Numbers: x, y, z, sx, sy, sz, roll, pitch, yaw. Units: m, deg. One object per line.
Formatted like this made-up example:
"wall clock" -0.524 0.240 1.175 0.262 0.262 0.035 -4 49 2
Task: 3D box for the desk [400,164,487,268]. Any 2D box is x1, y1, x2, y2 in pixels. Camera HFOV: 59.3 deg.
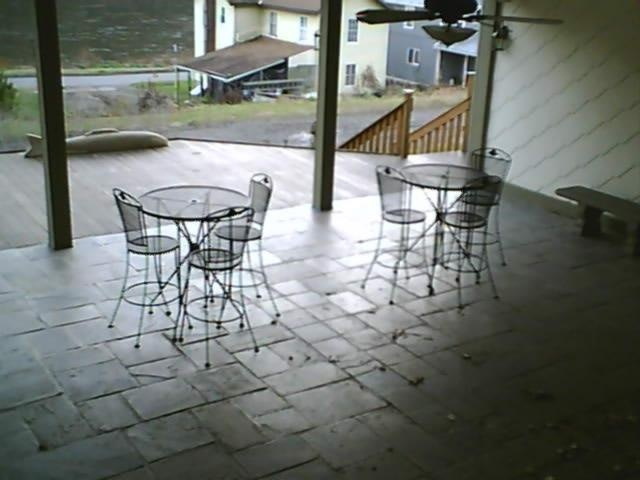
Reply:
"desk" 1.380 -0.121 6.088 0.960 0.930 0.961 11 -5 15

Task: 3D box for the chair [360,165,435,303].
"chair" 0.901 -0.226 6.142 0.697 1.232 1.897 5 19 9

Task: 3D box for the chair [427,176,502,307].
"chair" 1.550 0.056 6.027 0.759 1.389 0.727 -3 37 3

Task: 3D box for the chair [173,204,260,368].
"chair" -0.926 0.448 5.054 0.752 1.428 0.742 -5 34 -22

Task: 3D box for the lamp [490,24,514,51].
"lamp" 2.621 -2.971 8.315 0.290 0.357 0.314 -8 22 -25

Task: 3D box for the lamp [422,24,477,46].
"lamp" 0.978 -1.584 4.374 0.315 0.153 0.444 -5 20 -20

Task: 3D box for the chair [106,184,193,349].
"chair" -1.597 0.310 5.304 0.784 1.574 0.682 -19 53 -41
